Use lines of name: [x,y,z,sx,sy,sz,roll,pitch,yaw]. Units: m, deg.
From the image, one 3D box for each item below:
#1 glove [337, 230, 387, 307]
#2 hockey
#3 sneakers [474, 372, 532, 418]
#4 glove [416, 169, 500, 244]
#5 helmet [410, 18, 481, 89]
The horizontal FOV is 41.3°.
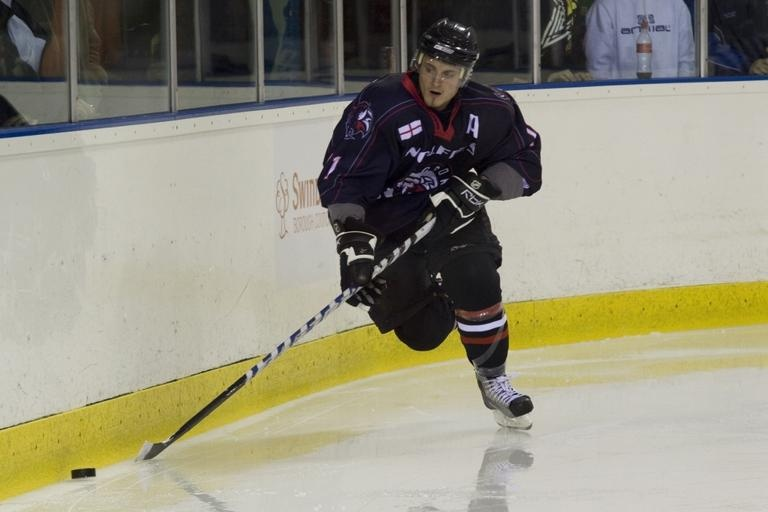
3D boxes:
glove: [-0.103,0.050,4.248,0.108,0.279,0.285,-3,-1,15]
hockey: [-0.476,0.370,4.566,1.556,0.063,0.162,-37,-17,-12]
sneakers: [0.510,0.600,4.468,0.119,0.126,0.297,-26,19,-17]
glove: [0.321,-0.204,4.419,0.338,0.198,0.132,-42,-11,6]
helmet: [0.261,-0.871,4.335,0.244,0.275,0.291,19,16,3]
